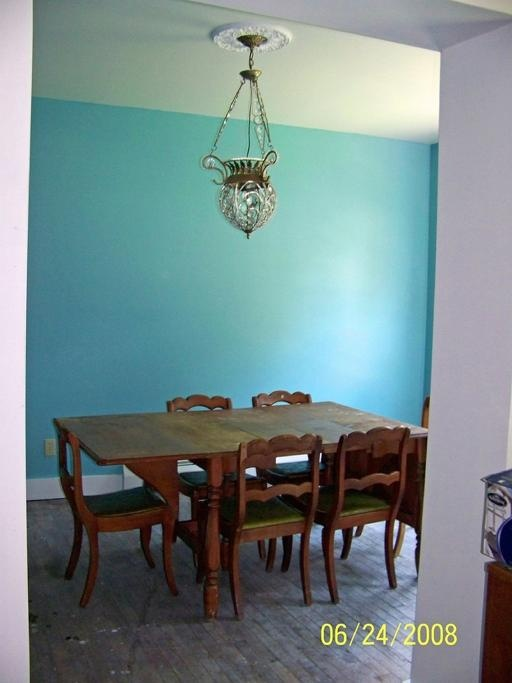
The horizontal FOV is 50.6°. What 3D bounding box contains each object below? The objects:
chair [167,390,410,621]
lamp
[{"bbox_3d":[0.145,0.605,2.832,0.857,0.870,1.100,1,2,-20],"label":"chair"},{"bbox_3d":[-0.007,-1.072,2.733,0.355,0.982,0.340,7,10,38],"label":"lamp"}]
